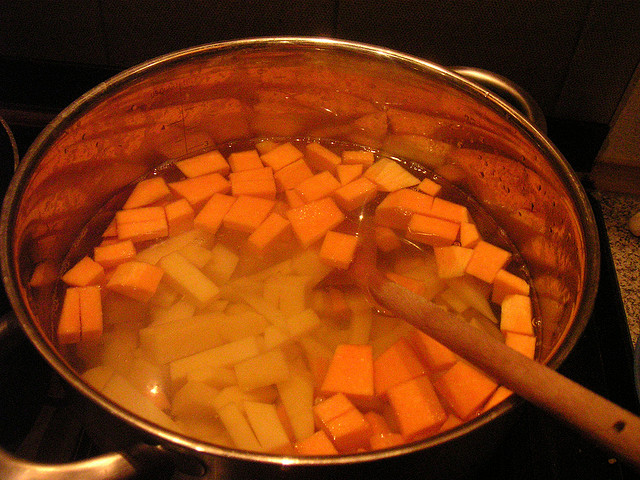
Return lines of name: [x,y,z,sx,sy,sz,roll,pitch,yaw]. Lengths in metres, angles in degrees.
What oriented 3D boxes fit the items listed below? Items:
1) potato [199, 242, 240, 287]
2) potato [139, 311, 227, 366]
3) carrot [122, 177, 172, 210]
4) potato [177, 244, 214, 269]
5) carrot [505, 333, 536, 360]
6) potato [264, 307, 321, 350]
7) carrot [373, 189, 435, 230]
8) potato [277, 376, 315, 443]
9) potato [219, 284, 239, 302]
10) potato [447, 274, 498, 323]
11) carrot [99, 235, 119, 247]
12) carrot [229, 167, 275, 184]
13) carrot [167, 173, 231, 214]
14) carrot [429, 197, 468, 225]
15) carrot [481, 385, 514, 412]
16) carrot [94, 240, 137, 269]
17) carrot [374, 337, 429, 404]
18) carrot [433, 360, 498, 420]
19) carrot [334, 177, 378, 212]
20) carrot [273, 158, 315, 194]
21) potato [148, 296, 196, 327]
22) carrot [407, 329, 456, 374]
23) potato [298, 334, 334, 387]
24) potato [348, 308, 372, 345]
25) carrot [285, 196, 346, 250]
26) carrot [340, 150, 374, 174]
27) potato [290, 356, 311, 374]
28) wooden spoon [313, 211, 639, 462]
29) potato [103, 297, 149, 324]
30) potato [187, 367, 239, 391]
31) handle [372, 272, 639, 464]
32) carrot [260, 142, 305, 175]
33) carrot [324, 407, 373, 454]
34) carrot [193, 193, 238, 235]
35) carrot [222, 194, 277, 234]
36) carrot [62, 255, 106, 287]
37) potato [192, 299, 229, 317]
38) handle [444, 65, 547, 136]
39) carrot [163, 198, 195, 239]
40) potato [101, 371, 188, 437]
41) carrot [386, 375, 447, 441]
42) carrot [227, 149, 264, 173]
potato: [-0.186,0.045,1.010,0.061,0.017,0.062,40,70,12]
potato: [-0.229,0.174,0.958,0.047,0.153,0.056,-15,85,27]
carrot: [-0.347,-0.093,1.112,0.059,0.017,0.073,-11,48,7]
potato: [-0.235,0.029,1.017,0.054,0.013,0.039,36,60,25]
carrot: [0.341,0.183,0.943,0.040,0.011,0.046,0,72,17]
potato: [-0.050,0.151,0.939,0.125,0.033,0.045,-25,88,-10]
carrot: [0.162,-0.060,1.095,0.106,0.038,0.070,12,79,5]
potato: [-0.028,0.267,0.880,0.048,0.023,0.092,-9,68,-8]
potato: [-0.161,0.095,0.993,0.027,0.009,0.028,25,61,-12]
potato: [0.278,0.099,1.005,0.077,0.024,0.082,10,49,-19]
carrot: [-0.397,0.001,1.055,0.023,0.007,0.027,-12,53,8]
carrot: [-0.136,-0.130,1.115,0.058,0.013,0.034,-9,25,-2]
carrot: [-0.241,-0.104,1.101,0.089,0.024,0.079,-26,65,-22]
carrot: [0.252,-0.058,1.099,0.072,0.051,0.043,23,82,9]
carrot: [0.251,0.225,0.790,0.044,0.041,0.012,-43,93,-16]
carrot: [-0.370,0.025,1.012,0.065,0.024,0.044,-5,77,2]
carrot: [0.120,0.206,0.894,0.085,0.023,0.085,-29,59,-6]
carrot: [0.211,0.229,0.852,0.076,0.021,0.078,-43,55,-2]
carrot: [0.070,-0.094,1.116,0.097,0.058,0.048,-26,57,-17]
carrot: [-0.052,-0.126,1.131,0.086,0.019,0.060,-32,95,-16]
potato: [-0.259,0.125,0.958,0.058,0.014,0.037,-46,44,-14]
carrot: [0.178,0.180,0.907,0.064,0.019,0.071,-38,63,5]
potato: [-0.005,0.194,0.937,0.040,0.023,0.084,-14,53,-10]
potato: [0.070,0.150,0.973,0.033,0.023,0.109,5,39,10]
carrot: [-0.020,-0.032,1.067,0.099,0.024,0.086,-29,69,-18]
carrot: [0.080,-0.159,1.142,0.073,0.053,0.044,2,97,-3]
potato: [-0.029,0.205,0.936,0.033,0.008,0.025,13,50,9]
wooden spoon: [0.193,0.115,0.920,0.591,0.188,0.062,27,26,28]
potato: [-0.339,0.124,0.962,0.069,0.019,0.042,3,78,-9]
potato: [-0.168,0.222,0.891,0.069,0.022,0.039,11,59,-19]
handle: [0.270,0.201,0.871,0.058,0.061,0.530,-16,41,-40]
carrot: [-0.080,-0.170,1.151,0.081,0.038,0.058,-30,59,-17]
carrot: [0.042,0.286,0.836,0.064,0.049,0.066,-29,66,-14]
carrot: [-0.206,-0.056,1.070,0.056,0.026,0.115,19,58,3]
carrot: [-0.137,-0.053,1.064,0.069,0.020,0.079,20,64,7]
carrot: [-0.411,0.059,0.983,0.053,0.034,0.053,-37,66,-13]
potato: [-0.187,0.118,0.975,0.027,0.013,0.042,40,45,18]
handle: [0.350,-0.279,1.062,0.146,0.039,0.159,-6,56,-14]
carrot: [-0.268,-0.043,1.062,0.060,0.067,0.064,-13,45,-29]
potato: [-0.288,0.262,0.894,0.030,0.334,0.093,-3,77,-40]
carrot: [0.145,0.251,0.852,0.077,0.052,0.084,-16,67,-4]
carrot: [-0.151,-0.161,1.141,0.049,0.022,0.047,-34,33,-33]
